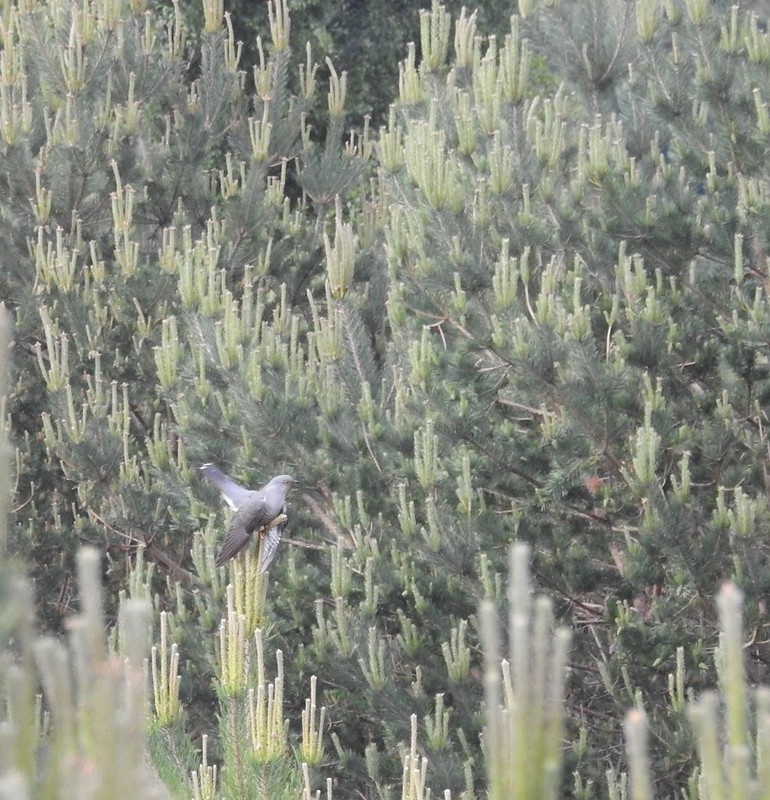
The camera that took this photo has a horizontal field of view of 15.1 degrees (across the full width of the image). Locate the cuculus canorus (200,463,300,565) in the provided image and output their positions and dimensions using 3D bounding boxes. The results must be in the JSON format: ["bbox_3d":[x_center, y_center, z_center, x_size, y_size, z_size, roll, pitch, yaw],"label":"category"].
[{"bbox_3d":[-0.807,0.640,16.333,0.642,0.587,0.294,6,-4,30],"label":"cuculus canorus"}]
